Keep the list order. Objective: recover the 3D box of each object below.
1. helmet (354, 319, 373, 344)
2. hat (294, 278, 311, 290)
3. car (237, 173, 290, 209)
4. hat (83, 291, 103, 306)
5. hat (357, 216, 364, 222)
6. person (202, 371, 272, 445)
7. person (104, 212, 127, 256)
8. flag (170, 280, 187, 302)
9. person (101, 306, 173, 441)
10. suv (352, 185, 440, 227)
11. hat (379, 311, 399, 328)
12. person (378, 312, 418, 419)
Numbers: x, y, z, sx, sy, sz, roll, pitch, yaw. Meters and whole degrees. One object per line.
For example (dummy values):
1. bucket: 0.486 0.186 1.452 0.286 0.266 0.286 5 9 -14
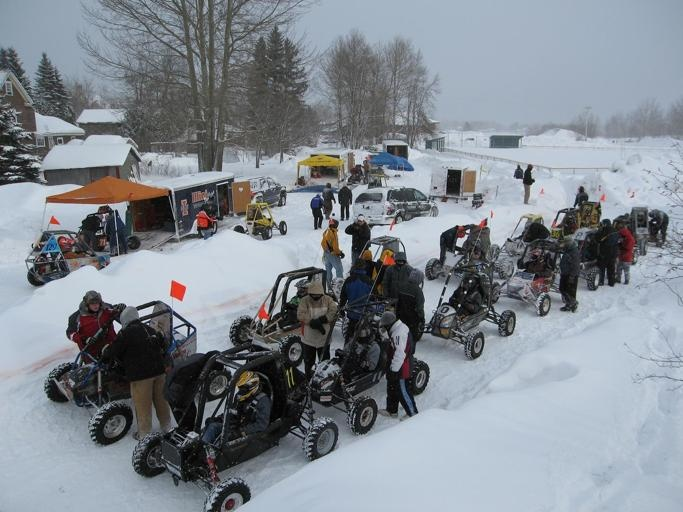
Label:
1. helmet: 0.371 1.549 10.284 0.291 0.555 0.512 -3 -6 12
2. hat: -0.942 0.701 12.301 0.347 0.251 0.688 -4 14 -6
3. car: -4.137 -3.430 27.470 0.975 1.213 2.610 4 13 27
4. hat: -4.993 0.851 10.127 0.320 0.317 0.298 -11 16 -30
5. hat: 0.600 -1.135 15.585 0.116 0.169 0.165 -3 45 -25
6. person: -1.722 2.542 8.548 0.840 1.417 1.175 4 4 42
7. person: -8.458 -0.879 18.933 0.660 1.706 0.860 -14 17 -39
8. flag: -3.939 0.873 12.186 0.446 0.528 0.041 30 36 5
9. person: -3.724 2.140 9.331 0.984 2.379 1.436 -8 15 -22
10. suv: 2.404 -2.190 23.227 1.862 1.560 3.925 8 17 41
11. hat: 0.895 1.171 9.563 0.302 0.275 0.242 22 54 24
12. person: 1.180 2.096 9.696 0.631 2.171 0.724 -12 17 -36
